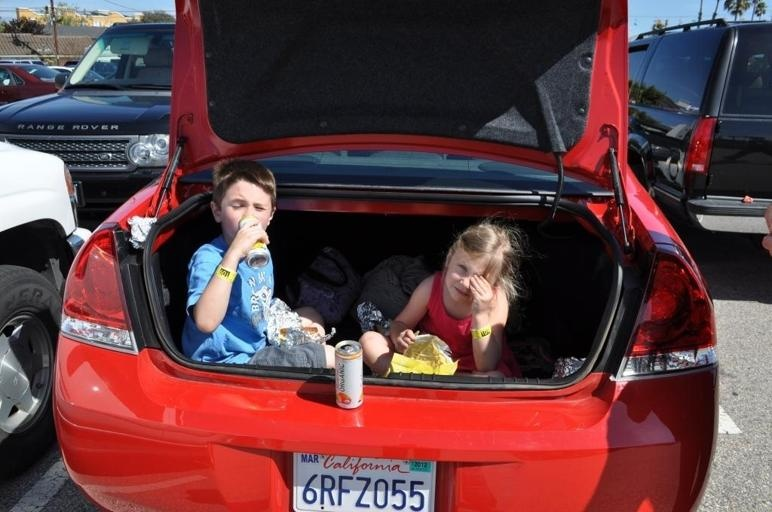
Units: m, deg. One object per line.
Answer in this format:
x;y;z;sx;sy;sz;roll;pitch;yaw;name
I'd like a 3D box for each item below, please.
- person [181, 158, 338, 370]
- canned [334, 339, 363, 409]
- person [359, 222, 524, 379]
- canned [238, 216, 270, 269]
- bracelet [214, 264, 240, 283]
-0.717;-0.030;2.858;0.882;1.121;0.814;5;8;12;person
-0.132;0.434;2.023;0.107;0.199;0.108;-4;11;-18;canned
0.256;0.247;2.713;0.744;0.799;0.664;10;16;-1;person
-0.567;-0.045;2.437;0.113;0.210;0.102;-4;19;-15;canned
-0.672;0.078;2.368;0.069;0.054;0.069;23;5;-10;bracelet
